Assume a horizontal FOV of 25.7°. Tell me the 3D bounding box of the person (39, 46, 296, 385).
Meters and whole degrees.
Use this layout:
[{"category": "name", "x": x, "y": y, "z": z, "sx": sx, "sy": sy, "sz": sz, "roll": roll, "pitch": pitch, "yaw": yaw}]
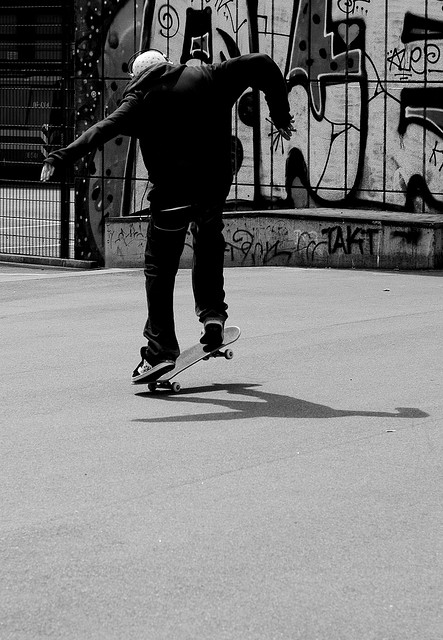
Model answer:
[{"category": "person", "x": -0.182, "y": -0.522, "z": 4.783, "sx": 1.129, "sy": 1.640, "sz": 0.647, "roll": -2, "pitch": 6, "yaw": -11}]
